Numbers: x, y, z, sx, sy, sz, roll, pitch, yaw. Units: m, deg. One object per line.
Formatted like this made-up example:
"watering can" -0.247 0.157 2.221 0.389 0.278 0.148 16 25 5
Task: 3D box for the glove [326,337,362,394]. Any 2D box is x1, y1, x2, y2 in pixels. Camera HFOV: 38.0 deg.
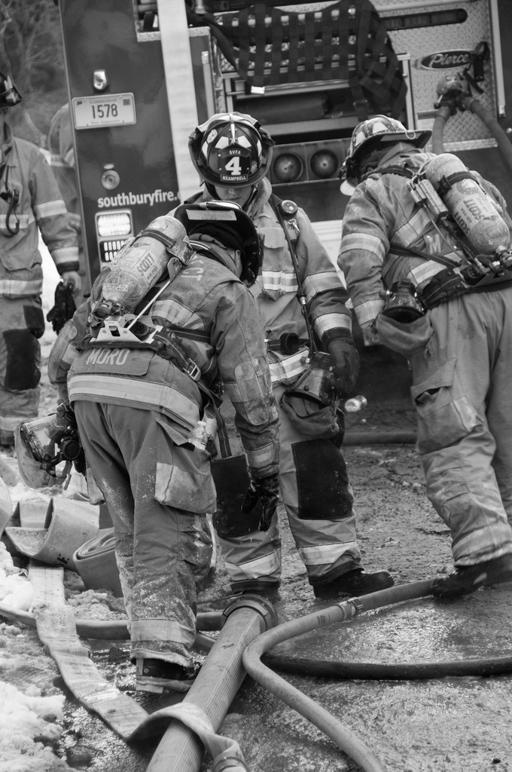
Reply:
"glove" 0.327 -0.075 2.982 0.080 0.201 0.159 -10 -15 27

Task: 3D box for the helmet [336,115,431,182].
"helmet" 0.530 -1.021 3.277 0.270 0.145 0.356 -19 -4 -42

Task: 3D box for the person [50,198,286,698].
"person" -0.298 0.192 2.267 0.512 1.390 0.799 0 14 36

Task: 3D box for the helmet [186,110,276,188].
"helmet" -0.084 -0.946 2.932 0.327 0.279 0.351 -2 38 0
